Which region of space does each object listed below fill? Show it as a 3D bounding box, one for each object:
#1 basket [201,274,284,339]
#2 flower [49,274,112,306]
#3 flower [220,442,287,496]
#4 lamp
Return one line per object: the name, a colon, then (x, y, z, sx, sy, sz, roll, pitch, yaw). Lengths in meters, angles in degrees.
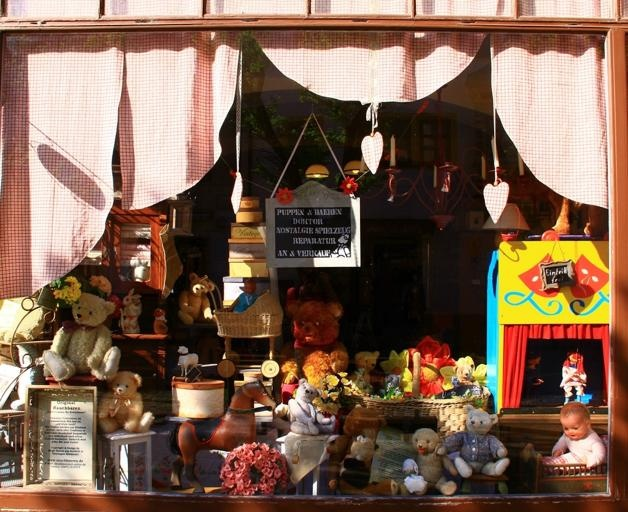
basket: (-0.508, 0.445, 7.500, 0.467, 0.302, 0.298, 2, -3, 5)
flower: (-1.666, 0.243, 7.276, 0.304, 0.243, 0.602, -3, -6, 22)
flower: (-0.418, 1.444, 6.824, 0.368, 0.315, 0.236, -4, 17, -2)
lamp: (0.994, -0.769, 7.894, 0.902, 1.170, 0.869, -5, -12, 33)
